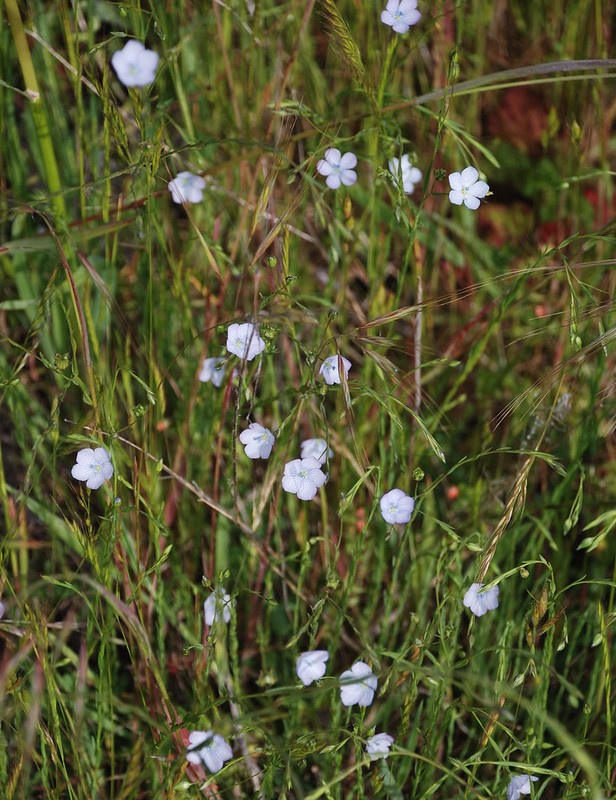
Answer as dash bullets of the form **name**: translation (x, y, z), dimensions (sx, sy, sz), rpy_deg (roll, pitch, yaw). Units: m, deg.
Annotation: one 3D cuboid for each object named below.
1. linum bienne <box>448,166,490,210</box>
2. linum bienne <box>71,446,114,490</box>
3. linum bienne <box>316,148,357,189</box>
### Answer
- **linum bienne**: translation (0.288, -0.374, 1.578), dimensions (0.066, 0.030, 0.098), rpy_deg (-1, 81, 5)
- **linum bienne**: translation (-0.355, 0.122, 1.472), dimensions (0.059, 0.025, 0.077), rpy_deg (-23, 69, 4)
- **linum bienne**: translation (0.050, -0.405, 1.626), dimensions (0.072, 0.023, 0.079), rpy_deg (-40, 106, -26)
